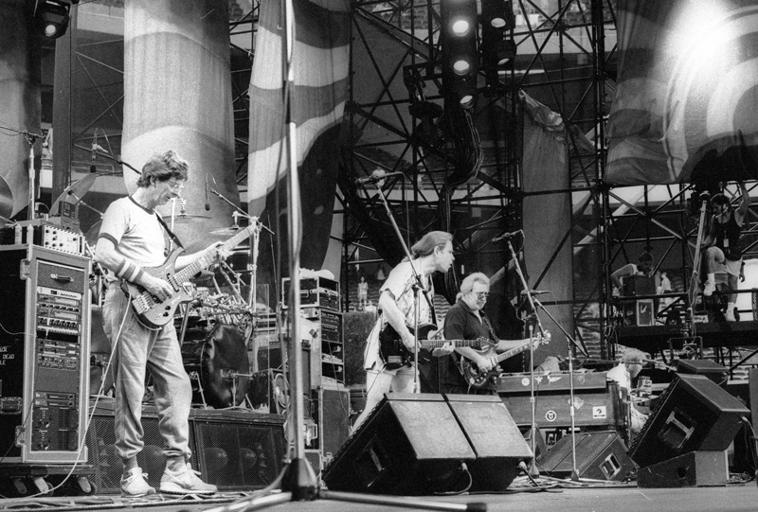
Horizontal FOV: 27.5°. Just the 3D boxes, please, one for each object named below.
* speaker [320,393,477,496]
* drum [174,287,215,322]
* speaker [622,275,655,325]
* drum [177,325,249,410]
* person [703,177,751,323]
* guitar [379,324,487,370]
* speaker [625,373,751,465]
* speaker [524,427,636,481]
[{"bbox_3d":[0.287,2.157,17.236,1.223,0.932,1.430,-8,-12,27],"label":"speaker"},{"bbox_3d":[-2.277,0.585,18.946,0.443,0.188,0.811,-1,4,-2],"label":"drum"},{"bbox_3d":[4.239,0.682,25.335,0.525,0.810,0.620,0,-5,8],"label":"speaker"},{"bbox_3d":[-2.035,1.423,20.075,1.057,1.032,0.966,0,-11,10],"label":"drum"},{"bbox_3d":[5.486,-0.086,24.653,0.688,2.201,0.649,1,-5,6],"label":"person"},{"bbox_3d":[0.594,1.110,19.139,0.394,0.586,1.590,-2,-6,34],"label":"guitar"},{"bbox_3d":[3.782,2.010,18.928,0.968,1.186,0.727,21,17,-38],"label":"speaker"},{"bbox_3d":[2.651,2.561,19.904,0.787,0.497,0.822,-1,-6,-35],"label":"speaker"}]
